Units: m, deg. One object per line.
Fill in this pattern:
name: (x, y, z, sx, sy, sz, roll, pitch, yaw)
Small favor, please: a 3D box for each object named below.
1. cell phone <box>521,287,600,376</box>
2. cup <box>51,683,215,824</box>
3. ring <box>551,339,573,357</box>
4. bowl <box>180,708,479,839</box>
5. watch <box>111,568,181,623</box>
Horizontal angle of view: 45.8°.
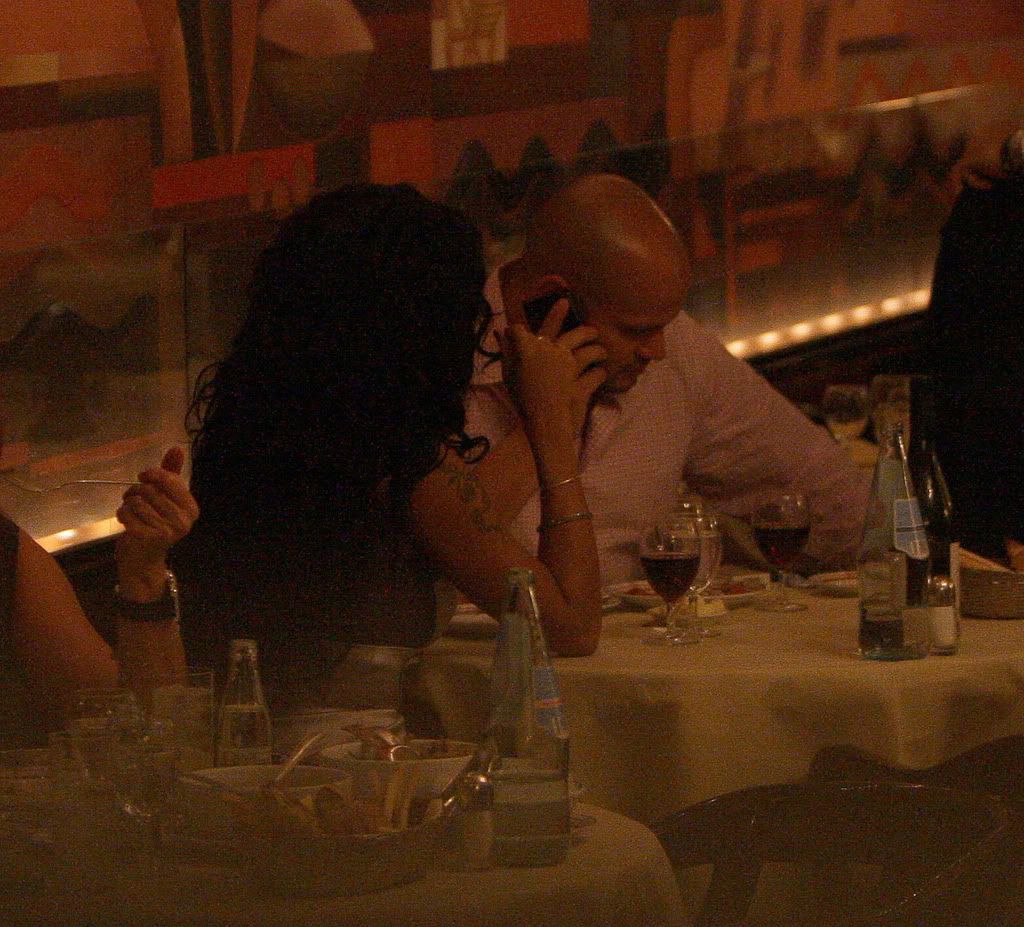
cell phone: (0.057, -0.224, 1.915, 0.120, 0.126, 0.033, -35, -2, 34)
cup: (-0.457, 0.336, 1.463, 0.180, 0.144, 0.205, 1, -5, -12)
ring: (0.067, -0.173, 1.793, 0.022, 0.007, 0.021, 13, 32, -8)
bowl: (-0.210, 0.358, 1.400, 0.292, 0.093, 0.209, -7, -6, -12)
watch: (-0.480, 0.177, 1.611, 0.076, 0.053, 0.084, 2, -6, -20)
